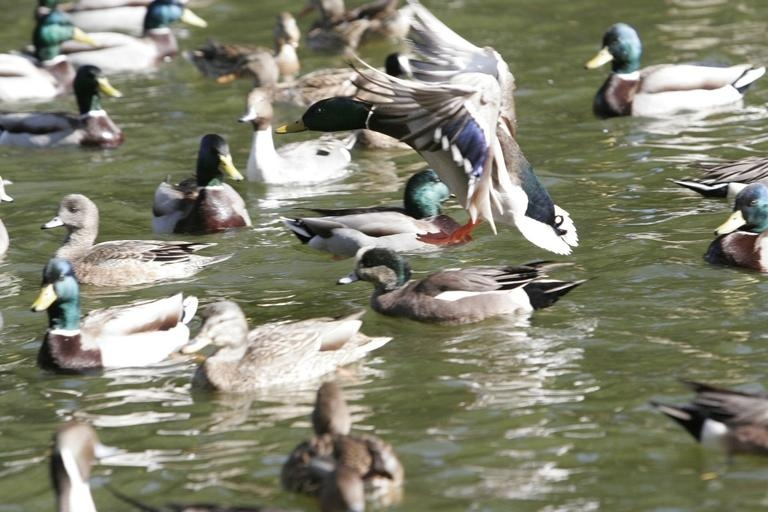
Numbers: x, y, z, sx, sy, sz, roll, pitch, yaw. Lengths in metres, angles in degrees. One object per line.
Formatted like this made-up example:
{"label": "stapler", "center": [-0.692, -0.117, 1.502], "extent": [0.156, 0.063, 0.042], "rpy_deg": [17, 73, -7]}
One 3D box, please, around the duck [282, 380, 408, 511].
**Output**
{"label": "duck", "center": [-0.372, 1.564, 6.627], "extent": [0.800, 0.872, 1.025], "rpy_deg": [-28, 51, -22]}
